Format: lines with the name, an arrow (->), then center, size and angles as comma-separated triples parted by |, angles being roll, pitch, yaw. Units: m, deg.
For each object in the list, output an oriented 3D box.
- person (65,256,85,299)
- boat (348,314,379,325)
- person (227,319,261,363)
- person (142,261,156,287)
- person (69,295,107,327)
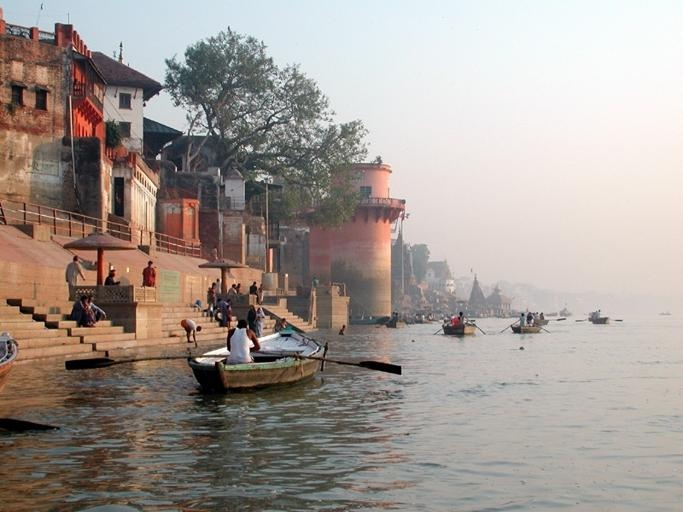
person -> -9.215, 0.776, 34.931 | 0.548, 1.493, 0.892 | 0, 5, -18
boat -> 1.790, 5.261, 82.336 | 2.199, 0.492, 5.686 | 2, 4, 3
person -> -2.605, 2.197, 26.439 | 0.736, 1.167, 1.007 | 2, 5, -2
person -> -7.179, 0.703, 37.759 | 0.416, 0.938, 0.736 | 1, 5, -14
person -> -8.177, 1.854, 33.489 | 1.040, 1.358, 1.092 | -4, -3, 23
